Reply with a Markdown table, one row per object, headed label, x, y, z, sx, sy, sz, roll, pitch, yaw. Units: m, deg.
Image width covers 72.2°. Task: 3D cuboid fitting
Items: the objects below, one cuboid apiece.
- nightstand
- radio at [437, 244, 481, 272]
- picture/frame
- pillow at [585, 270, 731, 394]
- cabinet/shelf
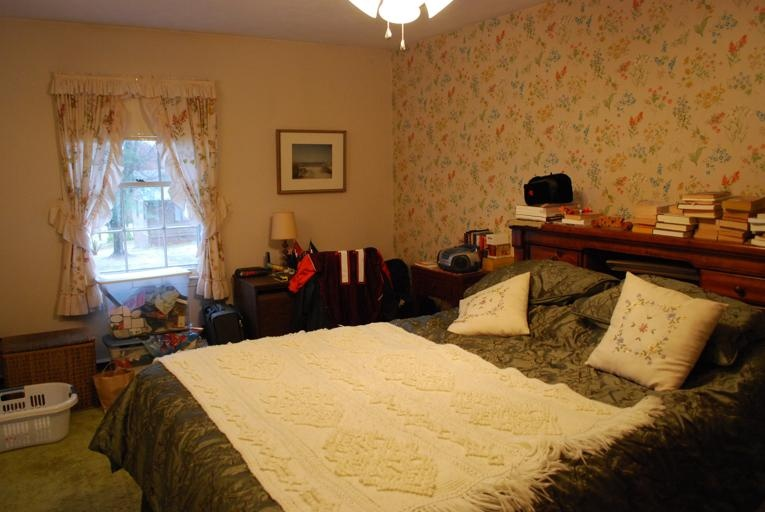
| label | x | y | z | sx | sy | sz | roll | pitch | yaw |
| --- | --- | --- | --- | --- | --- | --- | --- | --- | --- |
| nightstand | 0.627 | 0.380 | 4.925 | 0.405 | 0.560 | 0.596 | -12 | 18 | -39 |
| radio | 0.704 | 0.028 | 4.691 | 0.274 | 0.180 | 0.270 | 1 | 0 | -18 |
| picture/frame | -0.765 | -1.006 | 5.473 | 0.744 | 0.598 | 0.057 | -2 | 6 | -26 |
| pillow | 1.532 | 0.486 | 3.117 | 0.898 | 0.229 | 0.830 | -17 | 32 | -31 |
| cabinet/shelf | -1.136 | 0.494 | 5.106 | 0.449 | 0.554 | 0.594 | -7 | 15 | -38 |
